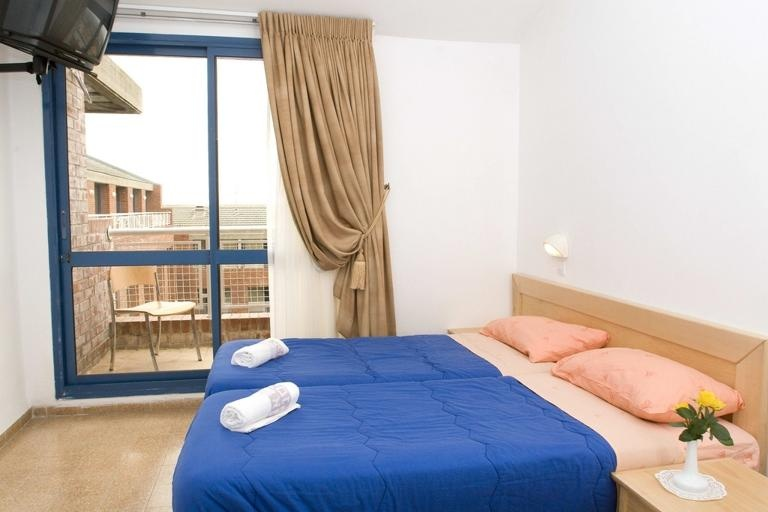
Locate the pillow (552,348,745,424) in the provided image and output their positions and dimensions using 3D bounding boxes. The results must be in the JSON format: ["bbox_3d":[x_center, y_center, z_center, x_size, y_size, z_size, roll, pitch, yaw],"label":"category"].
[{"bbox_3d":[1.463,0.717,3.290,0.515,0.147,0.526,1,7,-27],"label":"pillow"}]

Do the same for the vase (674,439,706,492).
[{"bbox_3d":[1.548,1.052,2.775,0.153,0.241,0.099,-6,10,-15],"label":"vase"}]

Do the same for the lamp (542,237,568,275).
[{"bbox_3d":[1.355,-0.017,4.412,0.103,0.318,0.304,-6,10,-14],"label":"lamp"}]

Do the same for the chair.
[{"bbox_3d":[-1.939,0.488,4.658,0.751,0.856,0.694,-1,3,-6],"label":"chair"}]

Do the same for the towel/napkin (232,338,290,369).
[{"bbox_3d":[-0.835,0.653,3.749,0.186,0.080,0.253,0,3,30],"label":"towel/napkin"}]

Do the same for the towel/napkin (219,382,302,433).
[{"bbox_3d":[-0.684,0.837,3.092,0.320,0.097,0.233,-11,17,-43],"label":"towel/napkin"}]
